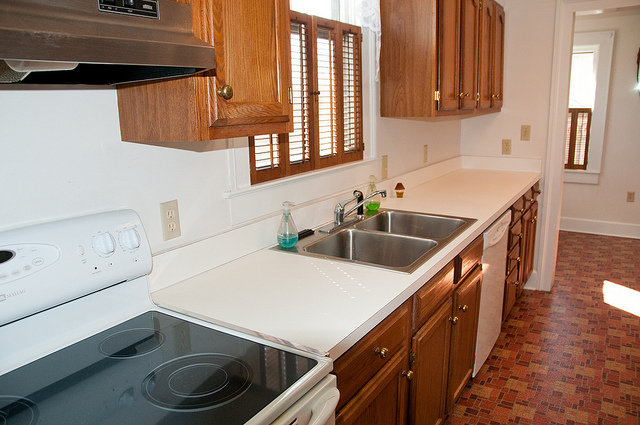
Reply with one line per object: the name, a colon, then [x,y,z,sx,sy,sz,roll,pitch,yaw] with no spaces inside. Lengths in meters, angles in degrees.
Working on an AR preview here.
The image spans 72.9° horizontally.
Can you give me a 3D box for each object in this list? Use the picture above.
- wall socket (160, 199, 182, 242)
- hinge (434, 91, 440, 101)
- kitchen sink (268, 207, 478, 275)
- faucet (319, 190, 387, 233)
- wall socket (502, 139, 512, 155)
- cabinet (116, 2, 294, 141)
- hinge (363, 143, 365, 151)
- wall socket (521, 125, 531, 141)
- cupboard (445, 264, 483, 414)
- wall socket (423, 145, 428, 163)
wall socket: [-0.604,0.033,1.755,0.028,0.148,0.098,13,24,38]
hinge: [0.736,-0.735,2.725,0.011,0.050,0.050,4,20,27]
kitchen sink: [0.345,0.130,2.320,0.933,0.319,0.861,8,17,35]
faucet: [0.206,-0.037,2.501,0.153,0.213,0.579,10,18,40]
wall socket: [1.673,-0.586,3.880,0.080,0.130,0.028,8,21,26]
cabinet: [-0.390,-0.507,1.551,0.661,0.477,0.328,-10,20,-23]
hinge: [0.284,-0.421,2.781,0.007,0.030,0.028,3,-3,14]
wall socket: [1.795,-0.694,3.777,0.076,0.126,0.025,7,20,24]
cupboard: [0.791,0.687,2.368,0.221,0.734,0.304,10,22,24]
wall socket: [0.838,-0.469,3.450,0.016,0.153,0.116,9,17,32]
